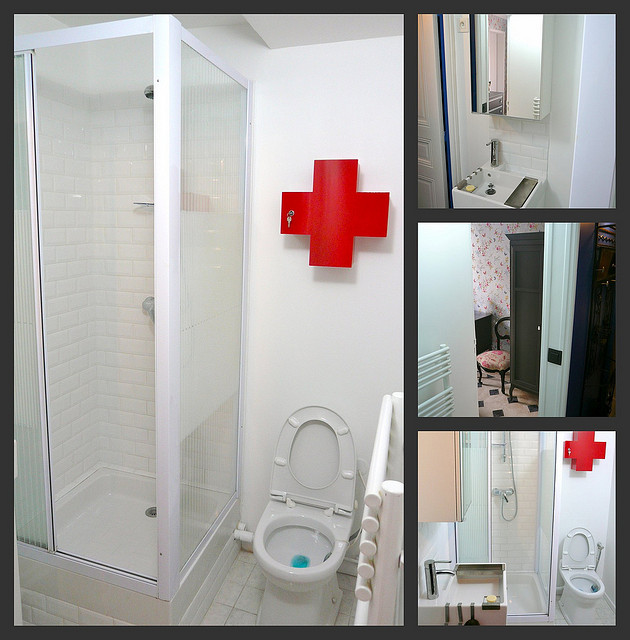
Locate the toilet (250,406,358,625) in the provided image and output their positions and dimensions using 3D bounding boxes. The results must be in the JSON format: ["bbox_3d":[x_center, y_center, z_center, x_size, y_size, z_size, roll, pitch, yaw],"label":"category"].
[{"bbox_3d":[-0.040,0.774,2.067,0.412,0.793,0.533,2,6,5],"label":"toilet"}]
